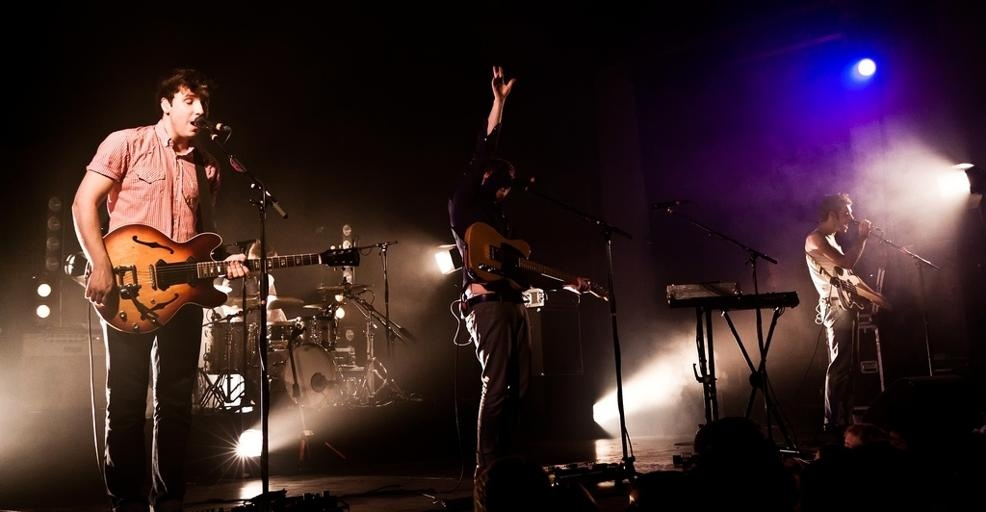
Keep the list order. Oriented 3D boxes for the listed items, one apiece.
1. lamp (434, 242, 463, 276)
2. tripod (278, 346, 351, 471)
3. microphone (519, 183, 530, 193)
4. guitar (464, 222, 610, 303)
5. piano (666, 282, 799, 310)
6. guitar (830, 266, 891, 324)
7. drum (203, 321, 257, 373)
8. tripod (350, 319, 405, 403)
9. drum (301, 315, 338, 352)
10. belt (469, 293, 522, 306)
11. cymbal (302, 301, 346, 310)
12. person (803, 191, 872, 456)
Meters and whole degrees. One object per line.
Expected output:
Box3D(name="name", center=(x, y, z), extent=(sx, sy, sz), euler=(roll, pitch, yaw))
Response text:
Box3D(name="lamp", center=(-0.770, 0.071, 13.163), extent=(0.339, 0.421, 0.435), euler=(-18, -27, -3))
Box3D(name="tripod", center=(-2.961, 2.213, 12.200), extent=(1.151, 2.144, 0.783), euler=(3, -1, -4))
Box3D(name="microphone", center=(0.434, -0.929, 10.201), extent=(0.160, 0.081, 0.378), euler=(4, 0, -4))
Box3D(name="guitar", center=(0.376, 0.048, 9.664), extent=(1.627, 0.803, 0.332), euler=(7, -18, -29))
Box3D(name="piano", center=(3.270, 0.528, 10.516), extent=(1.685, 0.407, 0.301), euler=(-2, -16, -2))
Box3D(name="guitar", center=(5.909, 0.658, 12.210), extent=(0.518, 0.972, 1.486), euler=(2, 3, 37))
Box3D(name="drum", center=(-4.189, 1.457, 12.087), extent=(1.053, 0.909, 0.751), euler=(3, -11, -27))
Box3D(name="tripod", center=(-1.972, 1.848, 12.844), extent=(0.777, 1.478, 0.621), euler=(1, -1, 25))
Box3D(name="drum", center=(-2.968, 1.294, 13.074), extent=(0.647, 0.464, 0.751), euler=(4, 1, 34))
Box3D(name="belt", center=(0.019, 0.526, 9.429), extent=(0.676, 0.134, 0.171), euler=(-2, -15, 0))
Box3D(name="cymbal", center=(-2.964, 0.874, 13.289), extent=(0.353, 0.107, 0.356), euler=(-5, -5, 42))
Box3D(name="person", center=(5.449, 0.898, 11.856), extent=(1.065, 3.782, 0.683), euler=(-12, -19, 31))
